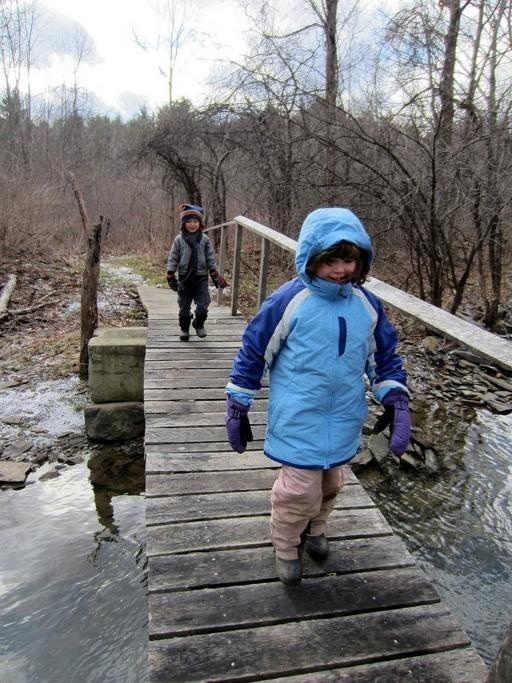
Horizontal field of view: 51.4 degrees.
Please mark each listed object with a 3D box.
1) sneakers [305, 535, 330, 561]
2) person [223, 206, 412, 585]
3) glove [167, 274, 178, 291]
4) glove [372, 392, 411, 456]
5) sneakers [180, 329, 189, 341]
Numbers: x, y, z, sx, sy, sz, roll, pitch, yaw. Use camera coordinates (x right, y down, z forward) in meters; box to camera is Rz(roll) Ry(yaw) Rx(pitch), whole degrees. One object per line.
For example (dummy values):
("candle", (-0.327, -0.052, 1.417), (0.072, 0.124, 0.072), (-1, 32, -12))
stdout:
("sneakers", (0.239, 0.796, 2.068), (0.082, 0.105, 0.111), (-4, -13, -7))
("person", (0.223, 0.218, 1.882), (0.656, 1.344, 0.305), (2, 7, -3))
("glove", (-0.729, -0.521, 4.689), (0.060, 0.141, 0.108), (-12, 13, -15))
("glove", (0.479, 0.286, 1.895), (0.139, 0.218, 0.089), (15, -33, -9))
("sneakers", (-0.680, -0.067, 5.090), (0.102, 0.114, 0.287), (2, 2, -11))
